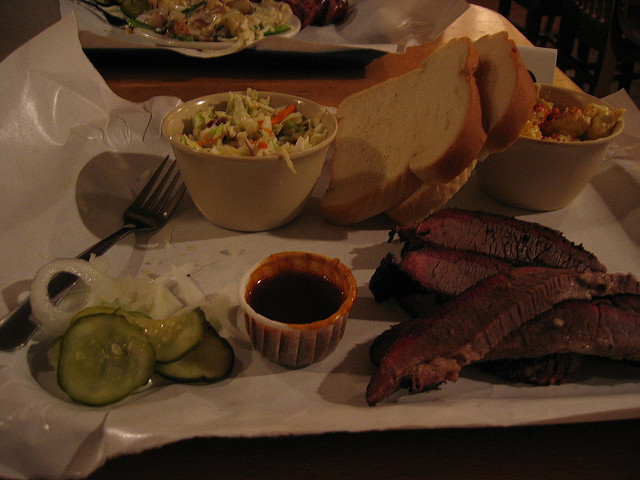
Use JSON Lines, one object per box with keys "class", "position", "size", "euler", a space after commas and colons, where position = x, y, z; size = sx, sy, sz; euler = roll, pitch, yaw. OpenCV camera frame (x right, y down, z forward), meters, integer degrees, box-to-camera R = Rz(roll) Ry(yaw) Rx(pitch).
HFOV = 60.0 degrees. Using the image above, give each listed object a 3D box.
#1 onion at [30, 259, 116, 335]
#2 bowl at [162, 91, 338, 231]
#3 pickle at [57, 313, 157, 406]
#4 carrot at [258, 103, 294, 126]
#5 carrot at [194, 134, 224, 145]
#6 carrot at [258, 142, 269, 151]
{"class": "onion", "position": [-0.834, 0.163, 1.921], "size": [0.241, 0.212, 0.356], "euler": [-13, 27, -37]}
{"class": "bowl", "position": [-0.265, -0.231, 2.385], "size": [0.593, 0.341, 0.649], "euler": [4, 33, -2]}
{"class": "pickle", "position": [-0.644, 0.357, 1.679], "size": [0.277, 0.104, 0.247], "euler": [-5, 57, -11]}
{"class": "carrot", "position": [-0.191, -0.539, 2.391], "size": [0.043, 0.034, 0.166], "euler": [49, 60, -4]}
{"class": "carrot", "position": [-0.453, -0.408, 2.269], "size": [0.117, 0.056, 0.037], "euler": [3, 54, -6]}
{"class": "carrot", "position": [-0.222, -0.373, 2.208], "size": [0.033, 0.008, 0.035], "euler": [13, 50, -28]}
